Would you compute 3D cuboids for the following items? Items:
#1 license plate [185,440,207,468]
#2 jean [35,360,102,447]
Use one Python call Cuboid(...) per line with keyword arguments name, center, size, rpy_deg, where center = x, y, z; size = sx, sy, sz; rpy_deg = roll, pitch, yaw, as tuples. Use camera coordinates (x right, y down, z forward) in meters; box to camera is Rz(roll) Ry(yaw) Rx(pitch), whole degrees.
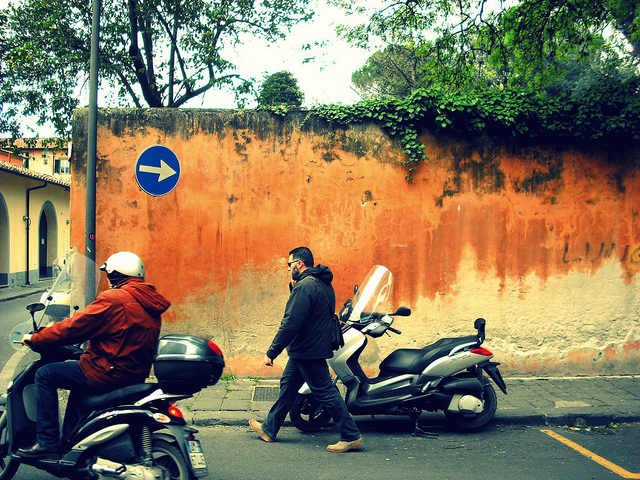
Cuboid(name="license plate", center=(-1.776, 3.039, 11.430), size=(0.279, 0.385, 0.147), rpy_deg=(-1, -1, -12))
Cuboid(name="jean", center=(-3.801, 2.387, 12.220), size=(1.078, 1.347, 0.821), rpy_deg=(-2, 9, -13))
